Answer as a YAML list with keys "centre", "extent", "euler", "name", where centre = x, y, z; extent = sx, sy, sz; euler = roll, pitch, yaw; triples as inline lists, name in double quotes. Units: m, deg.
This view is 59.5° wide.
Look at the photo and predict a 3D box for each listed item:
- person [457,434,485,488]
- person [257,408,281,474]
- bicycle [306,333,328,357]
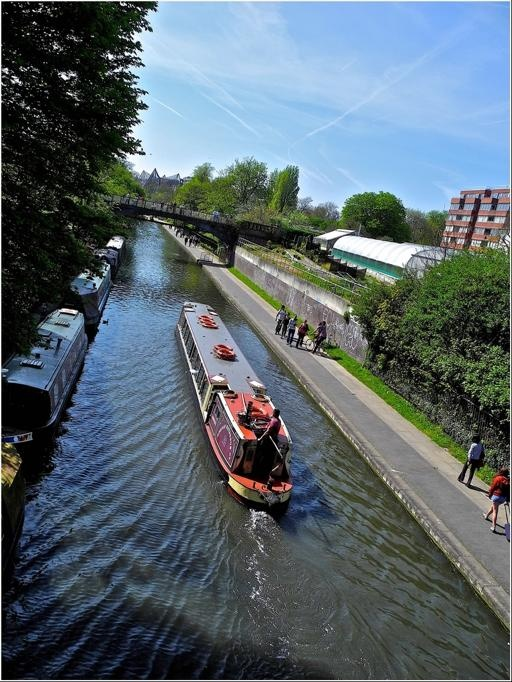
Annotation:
- centre: [6.876, 3.705, 14.136]
  extent: [0.543, 1.127, 1.175]
  euler: [20, 14, 30]
  name: "person"
- centre: [0.325, 2.637, 11.808]
  extent: [0.551, 1.783, 0.587]
  euler: [13, 13, 5]
  name: "person"
- centre: [3.557, 0.264, 27.928]
  extent: [0.789, 0.984, 1.610]
  euler: [19, 8, -9]
  name: "bicycle"
